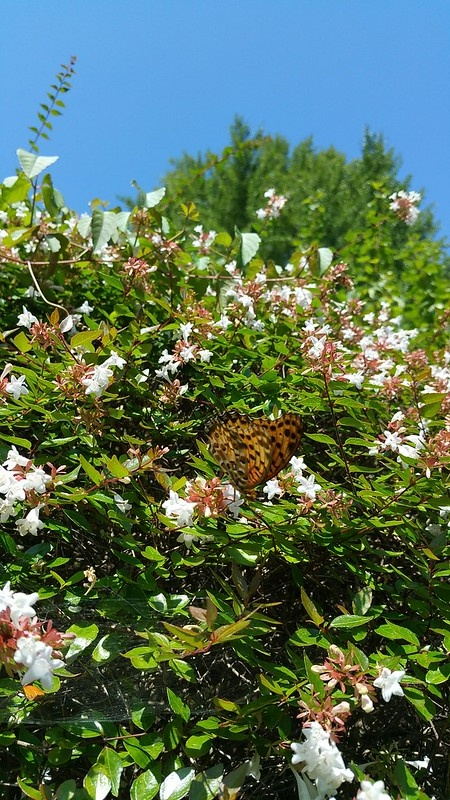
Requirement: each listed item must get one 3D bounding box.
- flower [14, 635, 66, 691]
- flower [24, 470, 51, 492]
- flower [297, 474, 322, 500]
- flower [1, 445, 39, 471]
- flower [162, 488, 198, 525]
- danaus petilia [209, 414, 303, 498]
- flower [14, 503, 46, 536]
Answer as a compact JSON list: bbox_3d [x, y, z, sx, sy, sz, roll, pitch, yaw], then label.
[{"bbox_3d":[-0.407,0.569,1.623,0.113,0.105,0.088,6,-2,-33],"label":"flower"},{"bbox_3d":[-0.483,0.208,1.923,0.071,0.060,0.062,5,-2,-22],"label":"flower"},{"bbox_3d":[0.229,0.239,2.057,0.064,0.050,0.074,4,-2,5],"label":"flower"},{"bbox_3d":[-0.531,0.159,1.934,0.068,0.027,0.066,37,25,-27],"label":"flower"},{"bbox_3d":[-0.122,0.287,1.975,0.084,0.076,0.191,4,-2,-3],"label":"flower"},{"bbox_3d":[0.081,0.154,2.081,0.228,0.159,0.138,0,28,-32],"label":"danaus petilia"},{"bbox_3d":[-0.515,0.313,1.966,0.063,0.075,0.164,5,-2,-14],"label":"flower"}]
